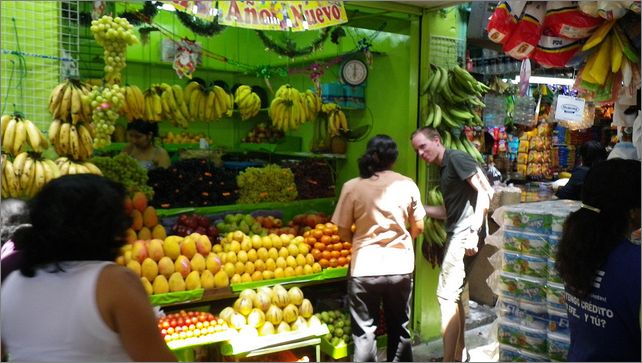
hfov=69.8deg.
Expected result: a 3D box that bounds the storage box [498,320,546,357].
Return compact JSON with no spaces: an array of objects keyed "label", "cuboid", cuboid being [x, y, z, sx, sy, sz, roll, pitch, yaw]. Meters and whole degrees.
[{"label":"storage box","cuboid":[1.682,1.301,3.863,0.266,0.092,0.217,6,2,12]}]

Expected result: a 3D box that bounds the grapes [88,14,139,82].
[{"label":"grapes","cuboid":[-1.939,-1.265,4.334,0.293,0.546,0.391,0,6,10]}]

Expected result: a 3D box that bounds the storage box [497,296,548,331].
[{"label":"storage box","cuboid":[1.685,1.095,3.849,0.306,0.193,0.094,10,46,30]}]

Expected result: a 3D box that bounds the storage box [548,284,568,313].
[{"label":"storage box","cuboid":[1.850,0.900,3.617,0.174,0.169,0.171,-1,5,-18]}]

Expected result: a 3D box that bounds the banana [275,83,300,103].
[{"label":"banana","cuboid":[-0.442,-1.173,6.071,0.324,0.214,0.155,-3,8,-7]}]

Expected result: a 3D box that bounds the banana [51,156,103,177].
[{"label":"banana","cuboid":[-2.207,-0.137,4.113,0.198,0.104,0.138,14,26,1]}]

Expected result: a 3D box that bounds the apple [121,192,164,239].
[{"label":"apple","cuboid":[-1.686,0.329,4.343,0.424,0.427,0.420,-13,-4,-17]}]

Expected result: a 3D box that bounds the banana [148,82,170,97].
[{"label":"banana","cuboid":[-1.869,-1.079,5.344,0.156,0.075,0.192,1,28,15]}]

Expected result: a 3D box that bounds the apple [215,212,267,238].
[{"label":"apple","cuboid":[-0.925,0.490,5.248,0.328,0.122,0.320,0,13,-43]}]

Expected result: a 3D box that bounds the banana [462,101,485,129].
[{"label":"banana","cuboid":[1.928,-0.837,5.820,0.085,0.440,0.112,-19,-16,-35]}]

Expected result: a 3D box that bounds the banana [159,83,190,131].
[{"label":"banana","cuboid":[-1.768,-0.956,5.420,0.216,0.135,0.404,-25,-18,-45]}]

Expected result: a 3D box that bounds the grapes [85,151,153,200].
[{"label":"grapes","cuboid":[-1.882,-0.051,4.328,0.408,0.291,0.335,28,17,-12]}]

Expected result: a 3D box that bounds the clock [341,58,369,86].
[{"label":"clock","cuboid":[0.479,-1.542,6.495,0.427,0.366,0.134,-7,9,-32]}]
